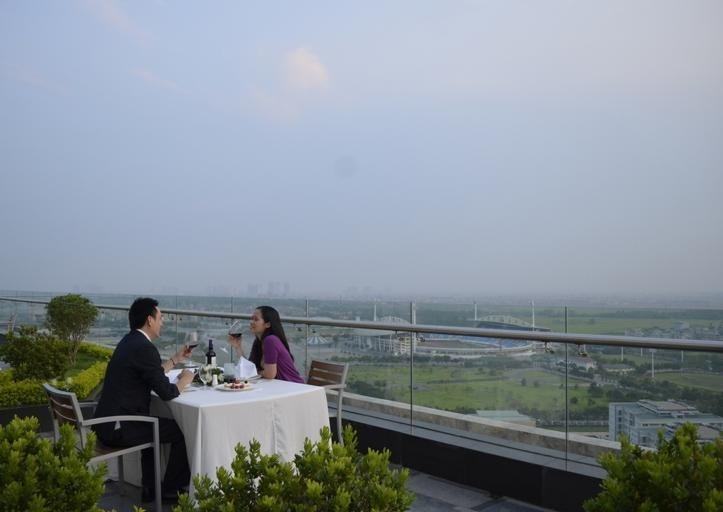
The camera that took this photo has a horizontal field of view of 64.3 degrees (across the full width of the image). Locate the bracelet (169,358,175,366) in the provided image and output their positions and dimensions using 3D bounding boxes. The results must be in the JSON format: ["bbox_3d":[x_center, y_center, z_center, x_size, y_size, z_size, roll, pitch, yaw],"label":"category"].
[{"bbox_3d":[-1.655,0.939,5.025,0.052,0.066,0.068,3,4,0],"label":"bracelet"}]

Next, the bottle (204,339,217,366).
[{"bbox_3d":[-1.322,0.844,5.031,0.076,0.224,0.304,-1,1,-15],"label":"bottle"}]
